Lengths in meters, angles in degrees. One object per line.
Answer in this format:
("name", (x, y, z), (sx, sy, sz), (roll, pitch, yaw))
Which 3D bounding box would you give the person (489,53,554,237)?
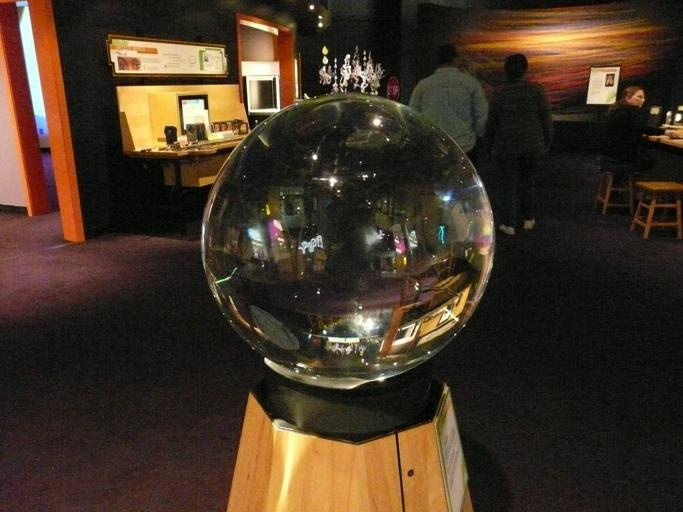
("person", (1.636, -1.015, 4.691), (0.612, 1.628, 0.357), (0, 19, 0))

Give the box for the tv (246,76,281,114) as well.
("tv", (-1.346, -2.756, 8.490), (0.171, 0.628, 0.760), (6, 15, 44))

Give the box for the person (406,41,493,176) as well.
("person", (0.933, -1.315, 4.371), (0.683, 1.008, 0.408), (4, 20, 13))

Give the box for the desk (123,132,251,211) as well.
("desk", (-1.686, -0.917, 5.559), (0.826, 0.676, 1.028), (11, 21, 31))
